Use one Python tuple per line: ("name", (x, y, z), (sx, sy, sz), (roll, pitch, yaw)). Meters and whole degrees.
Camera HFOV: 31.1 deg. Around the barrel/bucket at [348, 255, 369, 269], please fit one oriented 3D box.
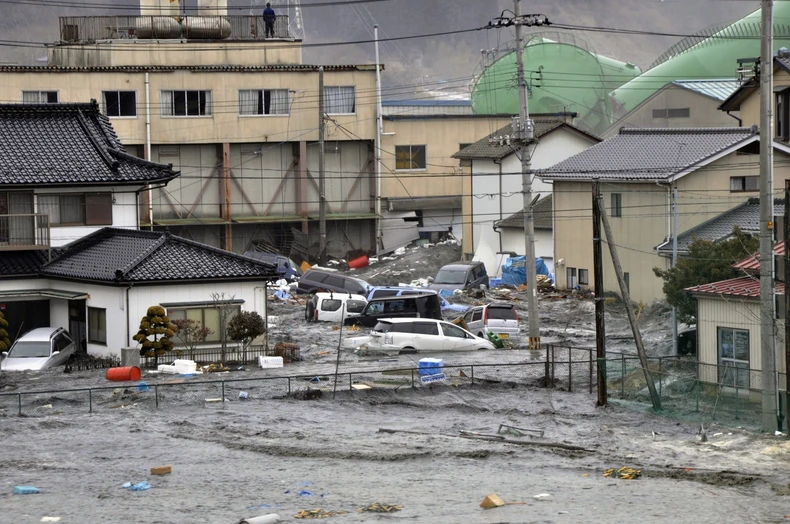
("barrel/bucket", (-2.655, 0.011, 99.068), (1.256, 0.529, 0.840), (-17, -11, -17))
